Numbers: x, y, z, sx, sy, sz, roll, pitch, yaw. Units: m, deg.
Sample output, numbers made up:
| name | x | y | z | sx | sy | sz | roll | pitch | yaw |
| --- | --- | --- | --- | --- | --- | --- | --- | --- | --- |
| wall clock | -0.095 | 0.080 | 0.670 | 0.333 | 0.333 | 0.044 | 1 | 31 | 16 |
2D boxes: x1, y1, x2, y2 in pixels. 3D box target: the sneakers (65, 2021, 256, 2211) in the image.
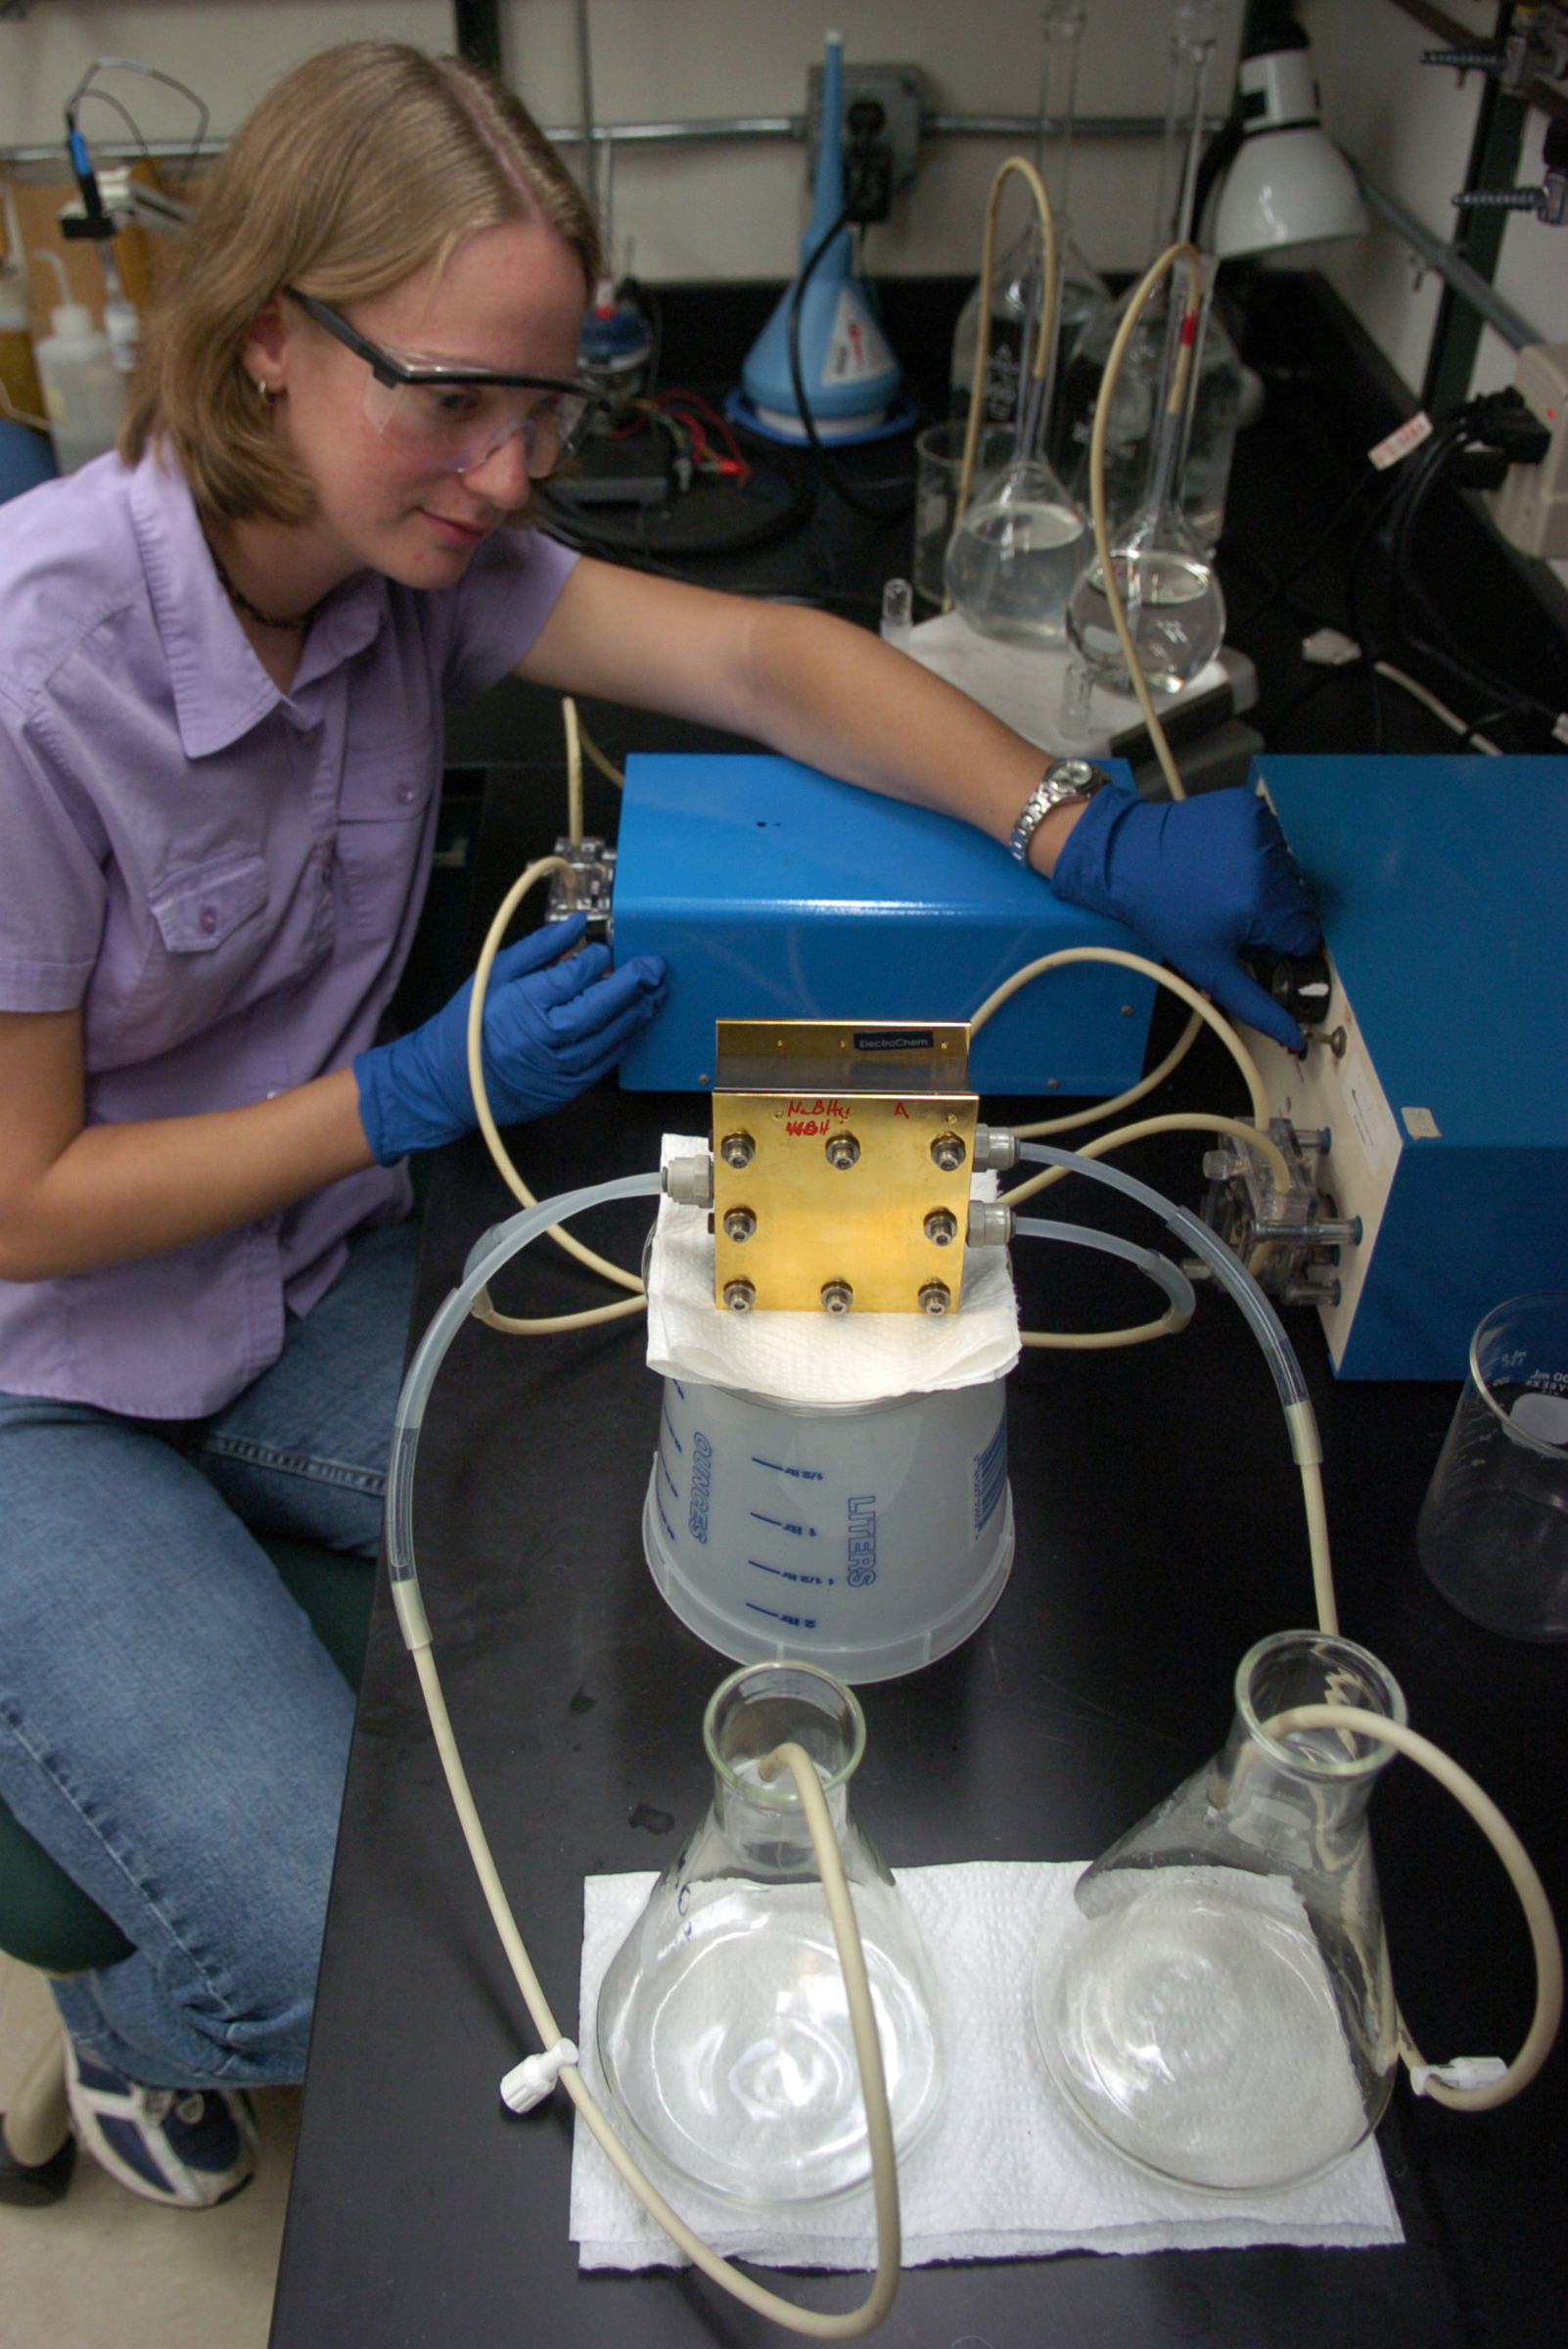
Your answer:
| name | x | y | z | sx | sy | sz | roll | pitch | yaw |
| --- | --- | --- | --- | --- | --- | --- | --- | --- | --- |
| sneakers | -0.503 | 0.704 | 1.498 | 0.090 | 0.088 | 0.205 | -2 | 38 | -40 |

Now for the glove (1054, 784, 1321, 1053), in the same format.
| name | x | y | z | sx | sy | sz | roll | pitch | yaw |
| --- | --- | --- | --- | --- | --- | --- | --- | --- | --- |
| glove | 0.265 | -0.170 | 1.246 | 0.151 | 0.137 | 0.095 | 17 | 1 | 37 |

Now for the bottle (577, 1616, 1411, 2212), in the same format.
| name | x | y | z | sx | sy | sz | roll | pitch | yaw |
| --- | --- | --- | --- | --- | --- | --- | --- | --- | --- |
| bottle | 0.088 | 0.358 | 0.830 | 0.390 | 0.261 | 0.208 | 0 | 50 | 3 |

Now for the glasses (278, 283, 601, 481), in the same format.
| name | x | y | z | sx | sy | sz | roll | pitch | yaw |
| --- | --- | --- | --- | --- | --- | --- | --- | --- | --- |
| glasses | -0.191 | -0.445 | 1.080 | 0.107 | 0.035 | 0.103 | 47 | 32 | 21 |

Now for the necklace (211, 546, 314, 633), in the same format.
| name | x | y | z | sx | sy | sz | roll | pitch | yaw |
| --- | --- | --- | --- | --- | --- | --- | --- | --- | --- |
| necklace | -0.350 | -0.394 | 1.263 | 0.053 | 0.018 | 0.069 | 2 | 9 | -1 |
